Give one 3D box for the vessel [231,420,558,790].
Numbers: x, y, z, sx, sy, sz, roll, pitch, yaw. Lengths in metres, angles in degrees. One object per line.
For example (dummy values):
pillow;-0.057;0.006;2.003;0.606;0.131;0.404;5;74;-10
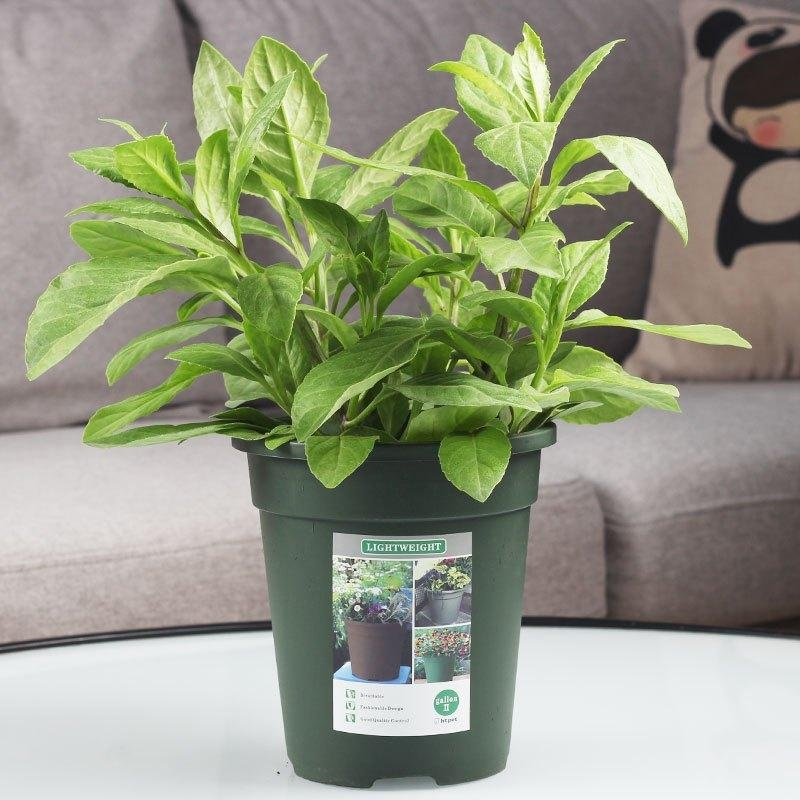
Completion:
vessel;0.009;0.125;0.657;0.251;0.240;0.216;0;-6;-4
